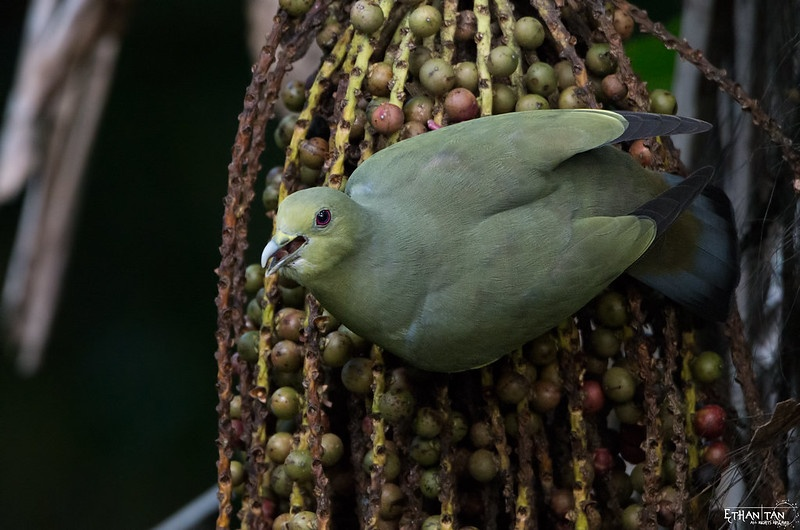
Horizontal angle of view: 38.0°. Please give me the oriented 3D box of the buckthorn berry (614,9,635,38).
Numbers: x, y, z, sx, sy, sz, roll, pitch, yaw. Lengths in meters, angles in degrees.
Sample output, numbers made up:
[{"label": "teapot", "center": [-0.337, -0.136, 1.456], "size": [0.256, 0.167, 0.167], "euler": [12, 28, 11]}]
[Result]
[{"label": "buckthorn berry", "center": [0.387, -0.414, 2.001], "size": [0.038, 0.053, 0.042], "euler": [-2, 18, 14]}]

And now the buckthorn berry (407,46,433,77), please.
[{"label": "buckthorn berry", "center": [0.028, -0.334, 1.908], "size": [0.038, 0.050, 0.038], "euler": [0, 2, -31]}]

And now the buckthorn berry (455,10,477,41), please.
[{"label": "buckthorn berry", "center": [0.107, -0.396, 1.923], "size": [0.031, 0.048, 0.027], "euler": [-1, -1, 6]}]

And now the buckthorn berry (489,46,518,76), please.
[{"label": "buckthorn berry", "center": [0.165, -0.331, 1.894], "size": [0.034, 0.042, 0.050], "euler": [5, 7, 9]}]

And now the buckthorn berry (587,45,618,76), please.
[{"label": "buckthorn berry", "center": [0.332, -0.340, 1.933], "size": [0.044, 0.050, 0.058], "euler": [-11, 12, 1]}]

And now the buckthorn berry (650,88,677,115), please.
[{"label": "buckthorn berry", "center": [0.441, -0.275, 1.963], "size": [0.040, 0.045, 0.046], "euler": [11, 27, 2]}]

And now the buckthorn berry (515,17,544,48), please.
[{"label": "buckthorn berry", "center": [0.210, -0.382, 1.911], "size": [0.047, 0.025, 0.048], "euler": [42, 60, -11]}]

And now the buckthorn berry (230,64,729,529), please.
[{"label": "buckthorn berry", "center": [0.123, 0.064, 1.859], "size": [0.491, 0.594, 0.318], "euler": [-6, 68, -57]}]

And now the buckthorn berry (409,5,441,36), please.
[{"label": "buckthorn berry", "center": [0.039, -0.393, 1.875], "size": [0.048, 0.043, 0.028], "euler": [31, -7, 6]}]
